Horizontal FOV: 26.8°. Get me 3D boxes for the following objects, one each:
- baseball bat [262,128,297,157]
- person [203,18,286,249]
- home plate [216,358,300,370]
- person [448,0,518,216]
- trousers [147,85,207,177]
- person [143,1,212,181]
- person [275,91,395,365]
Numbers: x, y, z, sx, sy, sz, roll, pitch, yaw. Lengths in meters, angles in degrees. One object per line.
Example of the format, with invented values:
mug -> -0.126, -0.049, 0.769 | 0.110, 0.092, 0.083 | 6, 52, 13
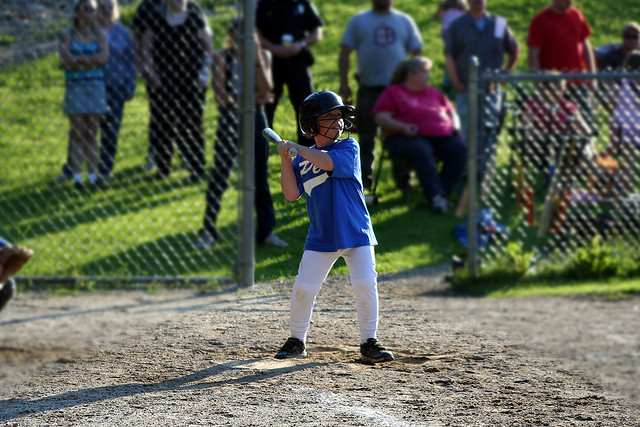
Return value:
baseball bat -> -0.333, -0.605, 10.648 | 0.116, 0.087, 0.522 | 27, 10, -34
person -> -0.632, -0.706, 12.194 | 0.631, 2.171, 1.517 | 2, 11, 7
home plate -> -0.476, 1.210, 10.679 | 0.624, 0.037, 0.171 | 0, 12, -5
person -> 1.466, -0.921, 11.870 | 0.638, 1.845, 1.097 | 1, 11, 2
trousers -> -1.234, -0.711, 11.837 | 0.525, 0.769, 0.288 | 2, 11, 5
person -> -1.245, -1.072, 11.861 | 0.609, 1.542, 0.444 | 1, 11, 5
person -> 0.111, 0.120, 10.709 | 0.861, 2.117, 0.432 | 1, 11, 3
